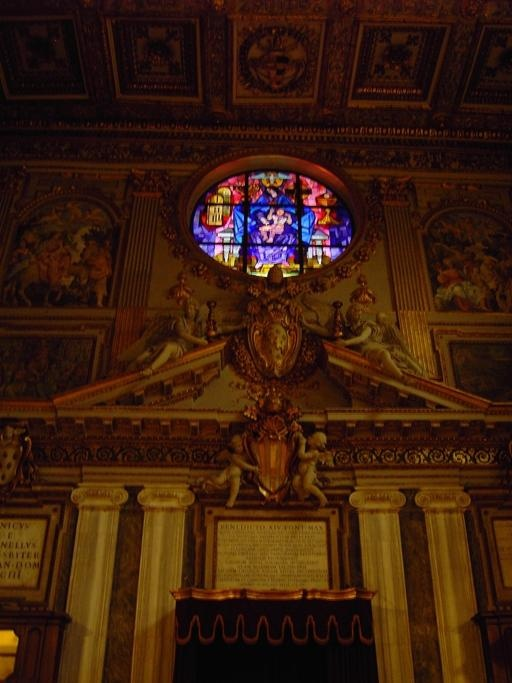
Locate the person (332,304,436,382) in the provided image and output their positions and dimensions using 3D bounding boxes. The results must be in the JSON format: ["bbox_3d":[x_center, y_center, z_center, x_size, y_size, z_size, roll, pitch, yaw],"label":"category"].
[{"bbox_3d":[1.373,0.040,6.734,0.792,1.070,0.600,-8,-29,16],"label":"person"}]
